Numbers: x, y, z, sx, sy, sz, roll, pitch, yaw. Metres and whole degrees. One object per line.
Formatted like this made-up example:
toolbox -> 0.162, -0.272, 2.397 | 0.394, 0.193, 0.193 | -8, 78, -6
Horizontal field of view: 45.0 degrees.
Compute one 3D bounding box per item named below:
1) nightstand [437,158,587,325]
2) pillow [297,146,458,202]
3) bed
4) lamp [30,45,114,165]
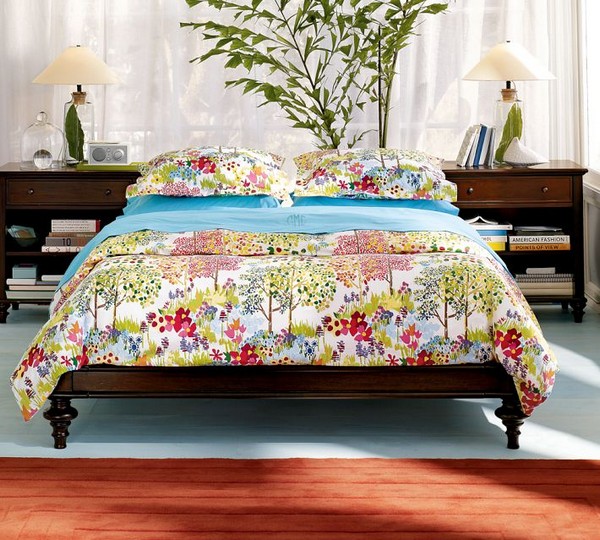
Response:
nightstand -> 1.040, -0.162, 3.524 | 1.083, 0.831, 0.613 | -1, 10, 5
pillow -> 0.376, -0.468, 3.599 | 0.524, 0.102, 0.402 | 0, 24, -1
bed -> -0.096, -0.042, 3.195 | 1.870, 0.960, 1.944 | 0, 11, 0
lamp -> -1.312, -0.990, 4.306 | 0.470, 0.509, 0.467 | 11, 11, 39
